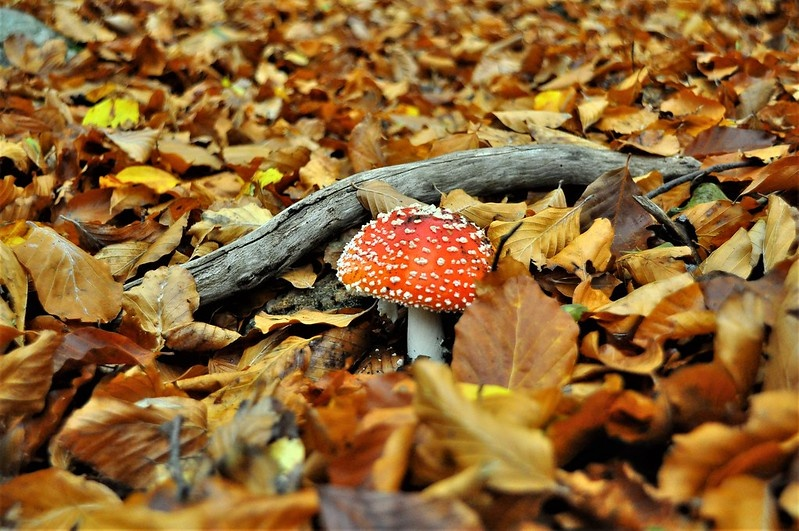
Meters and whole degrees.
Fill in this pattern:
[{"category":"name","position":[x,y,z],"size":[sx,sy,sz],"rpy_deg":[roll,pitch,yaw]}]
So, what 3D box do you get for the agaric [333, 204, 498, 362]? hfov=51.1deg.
[{"category":"agaric","position":[0.094,-0.039,3.979],"size":[0.690,0.275,0.508],"rpy_deg":[20,47,8]}]
